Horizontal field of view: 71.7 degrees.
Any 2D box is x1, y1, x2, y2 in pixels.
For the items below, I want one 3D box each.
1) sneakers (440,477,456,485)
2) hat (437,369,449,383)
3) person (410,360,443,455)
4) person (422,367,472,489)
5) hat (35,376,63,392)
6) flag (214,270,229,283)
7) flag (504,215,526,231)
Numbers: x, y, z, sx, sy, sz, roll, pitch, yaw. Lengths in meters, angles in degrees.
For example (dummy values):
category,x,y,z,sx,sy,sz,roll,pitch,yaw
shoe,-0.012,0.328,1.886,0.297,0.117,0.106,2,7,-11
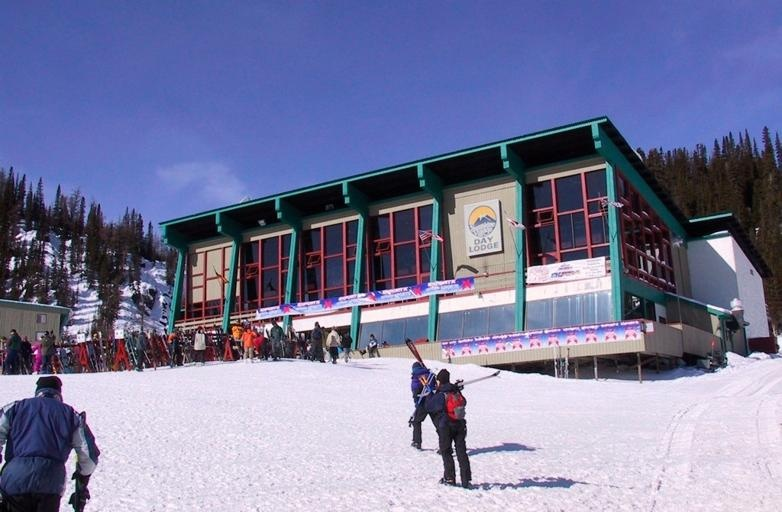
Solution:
category,x,y,z,sx,sy,sz,roll,pitch,yaw
sneakers,1.159,4.527,10.981,0.181,0.142,0.107,-1,-53,-11
hat,1.130,2.589,11.669,0.268,0.230,0.212,5,-9,2
person,0.827,3.624,13.524,0.851,2.179,0.684,-9,9,-9
person,1.206,3.553,11.340,0.773,2.333,0.937,-5,-11,7
hat,-5.024,1.851,7.948,0.310,0.245,0.321,-11,-14,33
flag,-15.698,1.960,50.468,1.570,1.354,0.166,-11,-13,29
flag,8.694,-2.341,38.015,1.179,1.354,1.845,-6,-11,8
